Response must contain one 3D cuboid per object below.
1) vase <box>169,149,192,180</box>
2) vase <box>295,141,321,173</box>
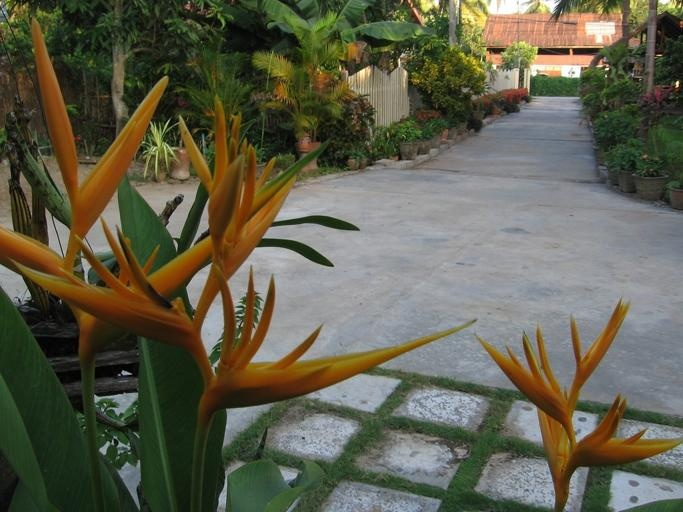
[{"bbox_3d":[-3.126,-1.784,10.841,0.352,0.623,0.456,10,17,42],"label":"vase"},{"bbox_3d":[-0.805,-2.184,11.981,0.520,0.586,0.538,-8,8,-17],"label":"vase"}]
